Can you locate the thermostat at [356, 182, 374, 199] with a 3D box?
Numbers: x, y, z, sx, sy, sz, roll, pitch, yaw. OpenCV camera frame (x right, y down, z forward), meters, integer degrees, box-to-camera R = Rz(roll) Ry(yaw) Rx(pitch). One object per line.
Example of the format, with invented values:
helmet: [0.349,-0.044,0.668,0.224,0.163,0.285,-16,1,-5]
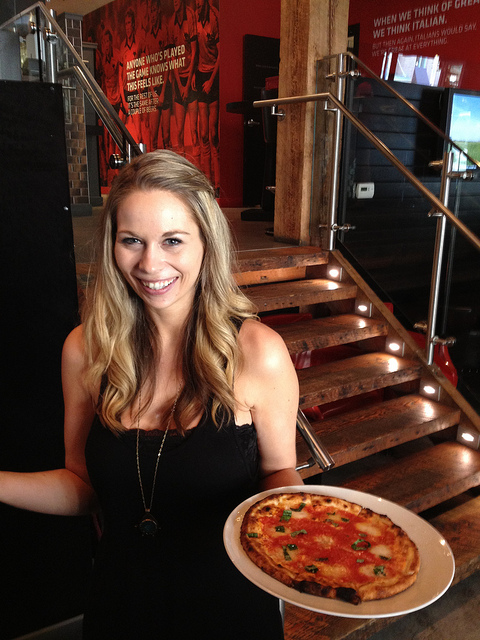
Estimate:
thermostat: [0.882,-0.906,3.248,0.075,0.127,0.131,-5,11,-22]

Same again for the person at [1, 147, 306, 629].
person: [-0.179,0.131,0.929,0.571,0.943,0.330,-4,-2,12]

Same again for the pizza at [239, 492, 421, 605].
pizza: [0.098,0.252,0.533,0.202,0.038,0.231,-5,-2,19]
